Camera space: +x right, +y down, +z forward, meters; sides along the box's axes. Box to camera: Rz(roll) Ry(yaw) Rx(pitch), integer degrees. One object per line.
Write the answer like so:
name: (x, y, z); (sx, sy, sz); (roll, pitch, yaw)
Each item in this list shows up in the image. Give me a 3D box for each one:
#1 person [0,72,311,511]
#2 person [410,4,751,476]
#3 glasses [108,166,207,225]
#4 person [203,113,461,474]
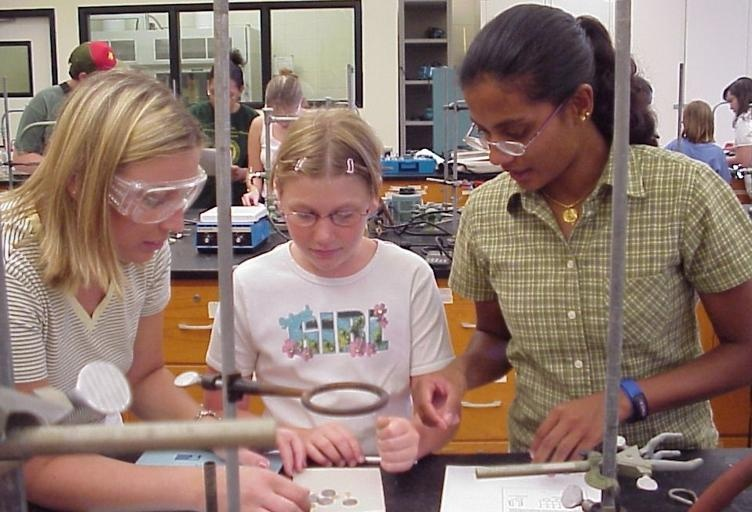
person: (-0.547, 0.061, 1.958); (0.672, 1.027, 0.500); (1, 3, 29)
person: (0.538, -0.036, 2.110); (0.804, 1.214, 0.489); (0, 3, 20)
glasses: (-0.512, -0.135, 1.921); (0.155, 0.072, 0.126); (23, 28, 36)
person: (-0.149, 0.213, 2.295); (0.724, 1.135, 0.687); (-1, 7, 20)
